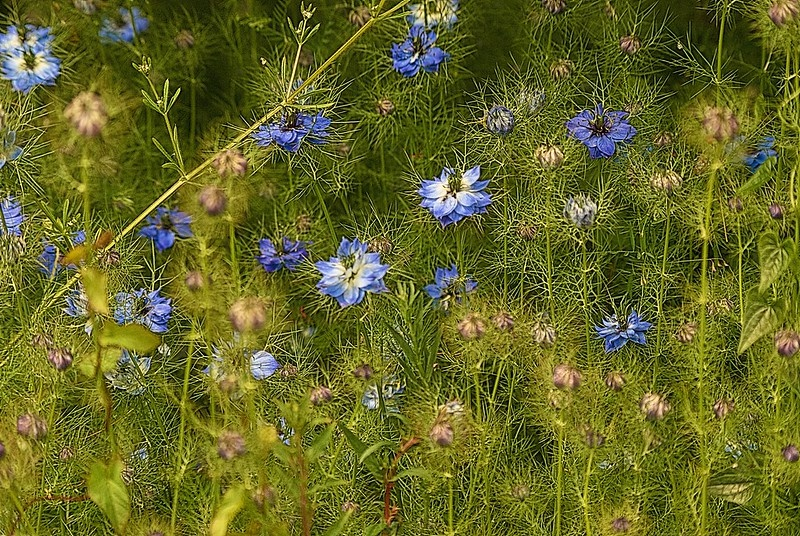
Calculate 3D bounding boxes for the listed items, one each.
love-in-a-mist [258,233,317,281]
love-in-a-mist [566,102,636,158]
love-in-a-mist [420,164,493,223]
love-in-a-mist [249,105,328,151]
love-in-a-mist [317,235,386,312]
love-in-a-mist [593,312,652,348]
[{"bbox_3d":[-0.320,-0.036,2.411,0.106,0.042,0.110,-15,79,-4],"label":"love-in-a-mist"},{"bbox_3d":[0.529,-0.384,2.275,0.143,0.177,0.063,7,56,26],"label":"love-in-a-mist"},{"bbox_3d":[0.166,-0.176,2.156,0.156,0.153,0.079,25,85,38],"label":"love-in-a-mist"},{"bbox_3d":[-0.274,-0.355,2.256,0.116,0.051,0.131,-13,37,-11],"label":"love-in-a-mist"},{"bbox_3d":[-0.108,-0.024,2.040,0.136,0.137,0.061,-11,73,30],"label":"love-in-a-mist"},{"bbox_3d":[0.567,0.154,2.199,0.097,0.038,0.104,-33,57,-3],"label":"love-in-a-mist"}]
